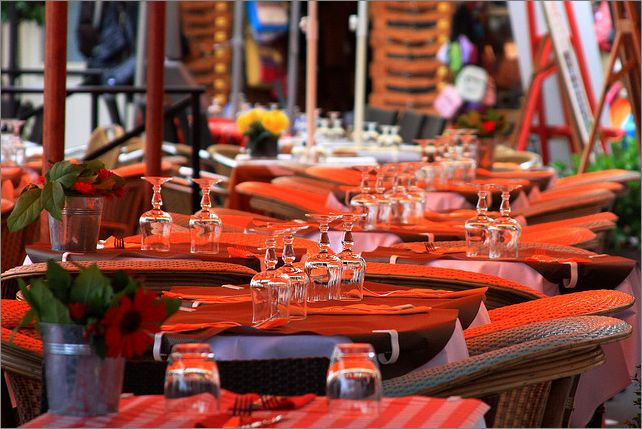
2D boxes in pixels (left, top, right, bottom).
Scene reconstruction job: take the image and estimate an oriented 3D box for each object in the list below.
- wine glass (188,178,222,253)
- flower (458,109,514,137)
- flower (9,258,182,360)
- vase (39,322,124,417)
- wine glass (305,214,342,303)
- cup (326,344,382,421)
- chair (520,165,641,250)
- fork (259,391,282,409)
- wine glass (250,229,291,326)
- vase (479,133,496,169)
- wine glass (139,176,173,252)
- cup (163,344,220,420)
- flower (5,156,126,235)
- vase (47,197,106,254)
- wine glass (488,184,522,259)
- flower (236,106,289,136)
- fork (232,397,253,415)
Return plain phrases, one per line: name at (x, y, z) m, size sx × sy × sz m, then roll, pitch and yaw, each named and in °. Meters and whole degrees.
wine glass at (-0.478, 0.008, 3.193) m, size 0.124 × 0.308 × 0.397 m, roll 3°, pitch 3°, yaw -8°
flower at (1.460, -0.779, 6.695) m, size 0.323 × 0.188 × 0.310 m, roll -2°, pitch 1°, yaw -22°
flower at (-0.556, 0.249, 1.846) m, size 0.270 × 0.123 × 0.271 m, roll 17°, pitch -13°, yaw -22°
vase at (-0.596, 0.383, 1.955) m, size 0.234 × 0.215 × 0.246 m, roll 3°, pitch -4°, yaw -20°
wine glass at (0.009, 0.149, 2.643) m, size 0.133 × 0.305 × 0.271 m, roll 3°, pitch 3°, yaw -1°
cup at (0.086, 0.404, 1.899) m, size 0.110 × 0.174 × 0.101 m, roll 3°, pitch 3°, yaw 0°
chair at (1.899, -0.061, 5.645) m, size 0.605 × 0.634 × 0.616 m, roll 15°, pitch 18°, yaw 15°
fork at (-0.137, 0.484, 2.029) m, size 0.062 × 0.052 × 0.022 m, roll -1°, pitch -35°, yaw 13°
wine glass at (-0.158, 0.187, 2.368) m, size 0.119 × 0.306 × 0.108 m, roll 6°, pitch 4°, yaw 37°
vase at (1.422, -0.525, 6.654) m, size 0.257 × 0.278 × 0.088 m, roll 1°, pitch 4°, yaw -41°
wine glass at (-0.686, -0.003, 3.206) m, size 0.129 × 0.302 × 0.466 m, roll 3°, pitch 3°, yaw -12°
cup at (-0.313, 0.395, 1.872) m, size 0.149 × 0.174 × 0.156 m, roll 1°, pitch 0°, yaw 0°
flower at (-0.924, -0.068, 2.826) m, size 0.337 × 0.267 × 0.278 m, roll 3°, pitch 3°, yaw 4°
vase at (-0.976, 0.035, 3.040) m, size 0.242 × 0.207 × 0.238 m, roll 3°, pitch 1°, yaw 39°
wine glass at (0.812, 0.034, 3.401) m, size 0.125 × 0.322 × 0.197 m, roll 5°, pitch 4°, yaw 20°
flower at (-0.595, -0.928, 7.776) m, size 0.406 × 0.227 × 0.402 m, roll 1°, pitch 1°, yaw -4°
fork at (-0.200, 0.482, 1.957) m, size 0.024 × 0.007 × 0.049 m, roll -3°, pitch 31°, yaw 8°
